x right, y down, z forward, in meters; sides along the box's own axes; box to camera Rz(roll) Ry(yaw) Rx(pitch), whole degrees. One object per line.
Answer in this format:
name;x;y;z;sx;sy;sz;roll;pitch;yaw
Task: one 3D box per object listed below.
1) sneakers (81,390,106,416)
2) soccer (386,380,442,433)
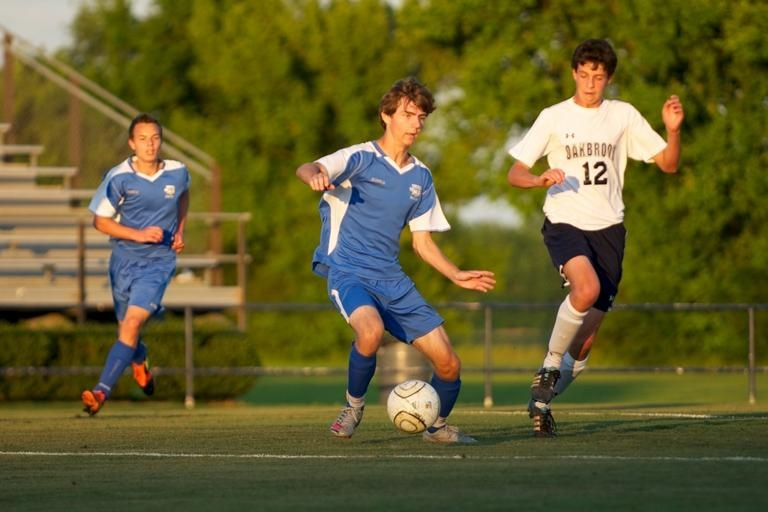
sneakers;-4.368;2.242;25.288;0.261;0.477;0.235;11;24;4
soccer;0.439;2.175;24.669;0.763;0.749;0.727;3;1;-2
